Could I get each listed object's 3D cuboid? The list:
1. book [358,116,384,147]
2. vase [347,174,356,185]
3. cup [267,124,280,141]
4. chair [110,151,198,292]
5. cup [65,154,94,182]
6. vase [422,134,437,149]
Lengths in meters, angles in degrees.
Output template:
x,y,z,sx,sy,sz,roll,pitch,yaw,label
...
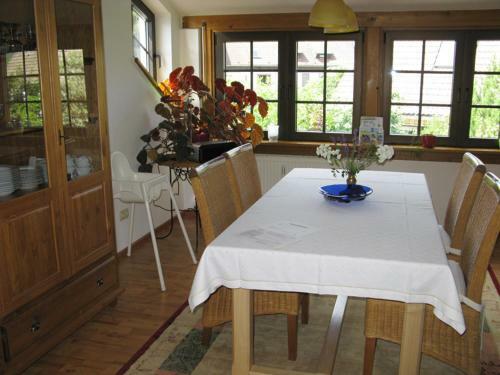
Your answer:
x,y,z,sx,sy,sz,roll,pitch,yaw,label
1.449,-0.606,4.428,0.309,0.386,0.296,0,-13,31,book
0.722,-0.058,2.593,0.062,0.083,0.066,1,3,-3,vase
0.293,-0.701,4.695,0.166,0.230,0.167,0,13,0,cup
-1.011,0.276,3.553,0.639,1.151,0.714,-1,12,33,chair
-1.176,-0.144,2.516,0.087,0.111,0.146,0,8,0,cup
2.091,-0.549,4.324,0.154,0.164,0.151,4,11,21,vase
